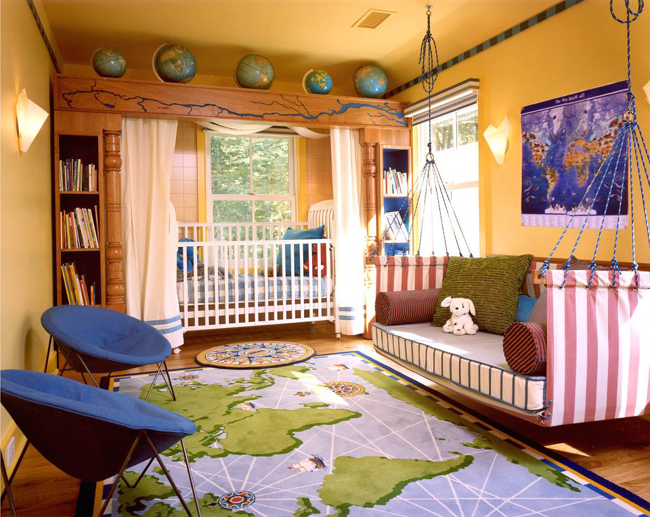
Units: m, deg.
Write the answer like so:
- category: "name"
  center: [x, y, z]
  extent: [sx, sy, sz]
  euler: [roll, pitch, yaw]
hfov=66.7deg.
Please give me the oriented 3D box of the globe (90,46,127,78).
- category: "globe"
  center: [-1.831, -1.647, 4.187]
  extent: [0.277, 0.175, 0.266]
  euler: [-2, 11, -28]

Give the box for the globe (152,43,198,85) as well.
- category: "globe"
  center: [-1.373, -1.732, 4.415]
  extent: [0.450, 0.311, 0.413]
  euler: [-1, 40, -5]

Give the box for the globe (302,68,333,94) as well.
- category: "globe"
  center: [-0.084, -1.691, 4.831]
  extent: [0.277, 0.147, 0.265]
  euler: [2, 4, 24]

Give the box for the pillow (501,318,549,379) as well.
- category: "pillow"
  center: [1.016, 0.424, 2.474]
  extent: [0.134, 0.158, 0.157]
  euler: [-17, 3, -14]

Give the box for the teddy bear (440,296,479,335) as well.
- category: "teddy bear"
  center: [0.923, 0.390, 3.396]
  extent: [0.198, 0.239, 0.276]
  euler: [-9, 6, -43]

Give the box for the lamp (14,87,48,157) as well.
- category: "lamp"
  center: [-1.888, -0.869, 3.166]
  extent: [0.113, 0.398, 0.370]
  euler: [-4, 8, -20]

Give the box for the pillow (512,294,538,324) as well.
- category: "pillow"
  center: [1.313, 0.329, 3.263]
  extent: [0.055, 0.151, 0.155]
  euler: [19, 0, -16]

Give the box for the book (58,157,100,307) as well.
- category: "book"
  center: [-2.096, -0.223, 4.208]
  extent: [0.357, 1.242, 0.333]
  euler: [-8, 10, -38]

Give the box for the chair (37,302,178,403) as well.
- category: "chair"
  center: [-1.352, 0.561, 3.038]
  extent: [0.753, 0.472, 0.709]
  euler: [9, 5, 11]

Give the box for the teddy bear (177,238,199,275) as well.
- category: "teddy bear"
  center: [-1.413, -0.025, 5.021]
  extent: [0.115, 0.317, 0.337]
  euler: [-6, -4, 10]

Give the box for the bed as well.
- category: "bed"
  center: [-0.813, 0.120, 5.501]
  extent: [1.651, 1.365, 1.502]
  euler: [-3, 7, -16]

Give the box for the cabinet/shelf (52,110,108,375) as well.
- category: "cabinet/shelf"
  center: [-2.085, -0.456, 4.174]
  extent: [0.451, 1.822, 0.209]
  euler: [1, -33, -30]

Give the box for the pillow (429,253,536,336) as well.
- category: "pillow"
  center: [1.095, 0.214, 3.505]
  extent: [0.271, 0.470, 0.614]
  euler: [6, -7, -44]

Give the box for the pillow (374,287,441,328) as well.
- category: "pillow"
  center: [0.588, 0.361, 3.718]
  extent: [0.559, 0.226, 0.209]
  euler: [2, 4, -34]

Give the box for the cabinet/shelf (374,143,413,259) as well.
- category: "cabinet/shelf"
  center: [0.716, -0.592, 5.130]
  extent: [0.332, 1.108, 0.353]
  euler: [1, 8, 14]

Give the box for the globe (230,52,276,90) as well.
- category: "globe"
  center: [-0.640, -1.696, 4.509]
  extent: [0.357, 0.251, 0.337]
  euler: [4, 5, -15]
